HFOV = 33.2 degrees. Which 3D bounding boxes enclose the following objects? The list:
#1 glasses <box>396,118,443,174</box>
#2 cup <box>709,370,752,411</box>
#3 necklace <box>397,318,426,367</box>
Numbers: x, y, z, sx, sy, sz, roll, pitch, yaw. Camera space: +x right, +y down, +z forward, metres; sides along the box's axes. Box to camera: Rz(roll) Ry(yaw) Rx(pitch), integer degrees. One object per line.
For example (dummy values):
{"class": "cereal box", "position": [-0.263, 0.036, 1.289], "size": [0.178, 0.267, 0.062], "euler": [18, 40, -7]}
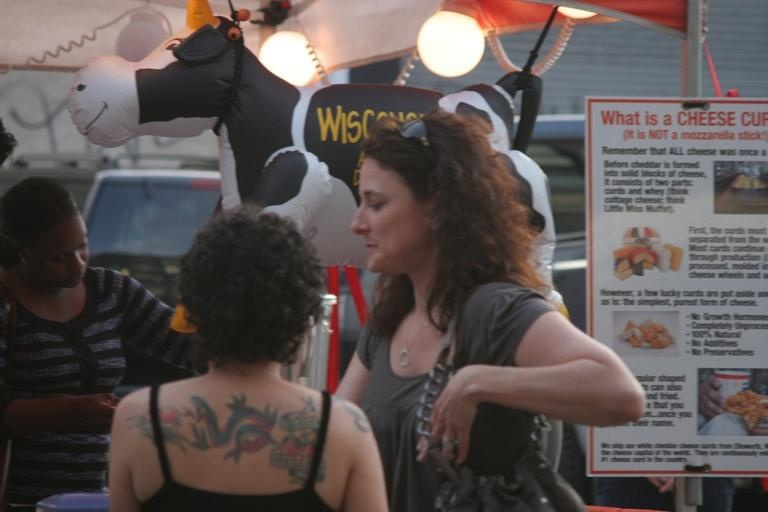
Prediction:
{"class": "glasses", "position": [0.157, -0.501, 6.114], "size": [0.190, 0.071, 0.232], "euler": [16, -41, 24]}
{"class": "cup", "position": [1.913, 0.728, 7.016], "size": [0.161, 0.156, 0.159], "euler": [10, -13, 2]}
{"class": "necklace", "position": [0.108, 0.437, 6.075], "size": [0.105, 0.139, 0.140], "euler": [21, -24, 6]}
